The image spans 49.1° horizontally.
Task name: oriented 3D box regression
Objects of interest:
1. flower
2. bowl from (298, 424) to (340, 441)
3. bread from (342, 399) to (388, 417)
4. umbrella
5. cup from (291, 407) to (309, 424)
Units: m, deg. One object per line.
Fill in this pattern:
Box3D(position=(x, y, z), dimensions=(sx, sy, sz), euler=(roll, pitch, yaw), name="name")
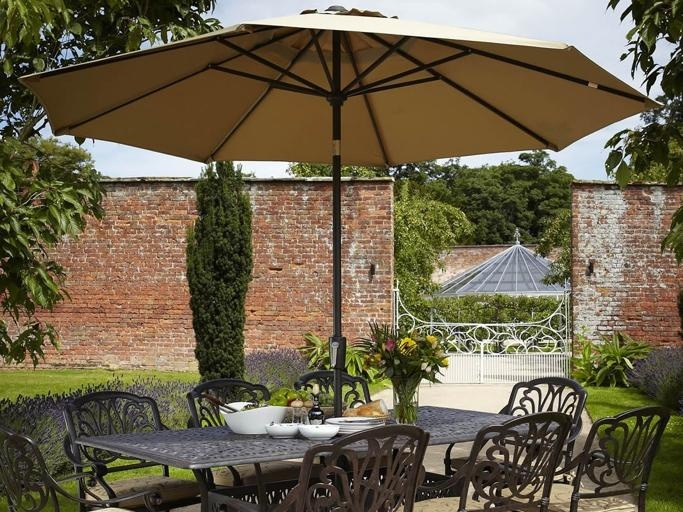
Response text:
Box3D(position=(0.411, 0.748, 4.802), dimensions=(0.500, 0.574, 0.471), euler=(4, -5, -27), name="flower")
Box3D(position=(-0.123, 1.032, 4.451), dimensions=(0.236, 0.097, 0.172), euler=(0, 3, -3), name="bowl")
Box3D(position=(0.155, 0.967, 4.748), dimensions=(0.203, 0.097, 0.124), euler=(-6, 4, 7), name="bread")
Box3D(position=(-0.009, -0.288, 5.125), dimensions=(3.525, 2.529, 2.039), euler=(0, 2, 0), name="umbrella")
Box3D(position=(-0.241, 0.953, 4.505), dimensions=(0.085, 0.095, 0.092), euler=(0, -7, 0), name="cup")
